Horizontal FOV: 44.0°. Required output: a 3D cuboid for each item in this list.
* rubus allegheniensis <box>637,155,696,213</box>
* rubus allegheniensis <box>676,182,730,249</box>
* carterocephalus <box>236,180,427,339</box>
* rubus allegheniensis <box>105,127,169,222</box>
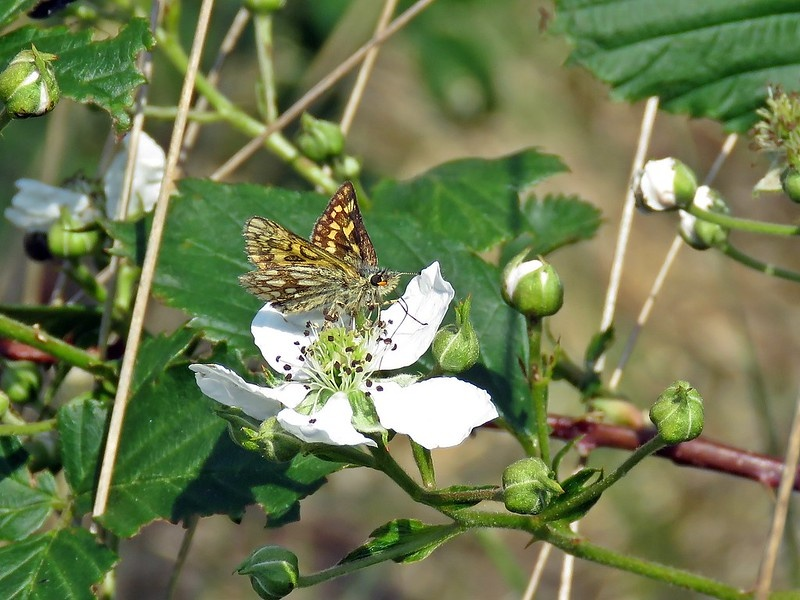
[{"bbox_3d":[0.726,-0.315,2.685,0.141,0.103,0.130,-14,31,10],"label":"rubus allegheniensis"},{"bbox_3d":[0.869,-0.246,2.842,0.128,0.171,0.179,-9,16,-25],"label":"rubus allegheniensis"},{"bbox_3d":[-0.213,-0.120,3.065,0.410,0.351,0.430,17,3,9],"label":"carterocephalus"},{"bbox_3d":[-0.867,-0.394,3.271,0.249,0.305,0.087,42,25,30],"label":"rubus allegheniensis"}]
